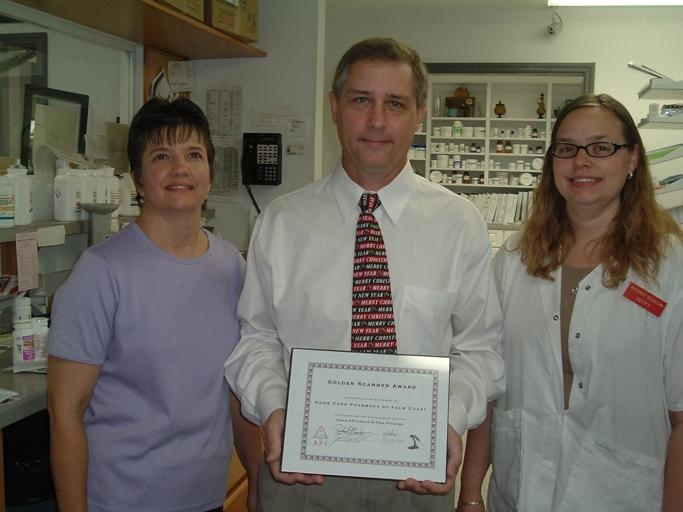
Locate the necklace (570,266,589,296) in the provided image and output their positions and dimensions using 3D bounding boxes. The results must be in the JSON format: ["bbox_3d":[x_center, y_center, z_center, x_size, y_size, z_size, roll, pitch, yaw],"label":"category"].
[{"bbox_3d":[0.804,0.087,1.928,0.061,0.095,0.033,15,3,31],"label":"necklace"}]

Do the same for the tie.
[{"bbox_3d":[0.095,0.041,1.769,0.134,0.489,0.197,0,6,0],"label":"tie"}]

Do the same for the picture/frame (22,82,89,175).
[{"bbox_3d":[-1.551,-0.701,3.062,0.308,0.374,0.013,-11,42,-44],"label":"picture/frame"}]
